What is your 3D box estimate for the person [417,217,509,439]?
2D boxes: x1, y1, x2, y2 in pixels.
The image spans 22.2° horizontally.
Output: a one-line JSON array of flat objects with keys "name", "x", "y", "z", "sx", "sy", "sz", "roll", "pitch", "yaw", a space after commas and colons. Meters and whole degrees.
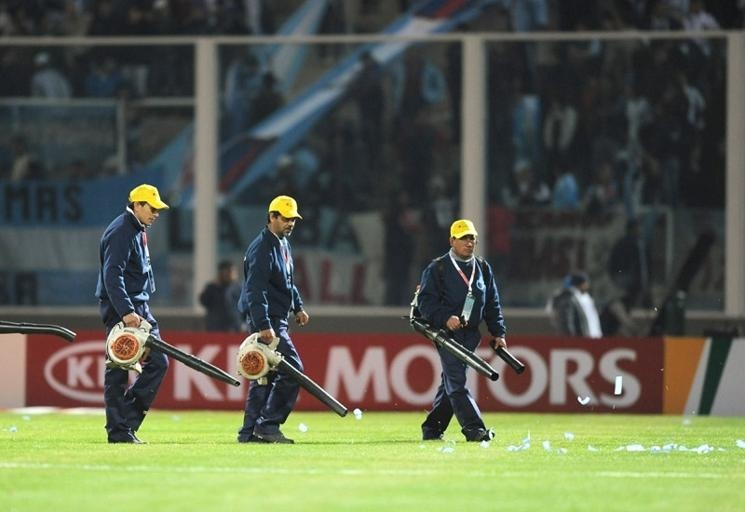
[{"name": "person", "x": 1.214, "y": 1.137, "z": 27.003, "sx": 1.171, "sy": 3.183, "sz": 1.114, "roll": 6, "pitch": 15, "yaw": 24}]

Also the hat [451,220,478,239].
[{"name": "hat", "x": 1.248, "y": -0.368, "z": 27.022, "sx": 0.283, "sy": 0.198, "sz": 0.383, "roll": 1, "pitch": -5, "yaw": -13}]

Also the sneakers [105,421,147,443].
[{"name": "sneakers", "x": -3.466, "y": 2.557, "z": 26.582, "sx": 0.597, "sy": 0.240, "sz": 0.199, "roll": 2, "pitch": -2, "yaw": -9}]

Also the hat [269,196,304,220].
[{"name": "hat", "x": -1.273, "y": -0.667, "z": 26.583, "sx": 0.522, "sy": 0.266, "sz": 0.360, "roll": 2, "pitch": 0, "yaw": 25}]

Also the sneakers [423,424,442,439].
[{"name": "sneakers", "x": 0.847, "y": 2.560, "z": 27.163, "sx": 0.235, "sy": 0.170, "sz": 0.202, "roll": 1, "pitch": -3, "yaw": 2}]

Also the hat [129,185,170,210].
[{"name": "hat", "x": -3.172, "y": -0.831, "z": 26.650, "sx": 0.663, "sy": 0.372, "sz": 0.414, "roll": 3, "pitch": 5, "yaw": -4}]

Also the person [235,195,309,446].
[{"name": "person", "x": -1.417, "y": 0.983, "z": 26.561, "sx": 0.944, "sy": 3.499, "sz": 1.087, "roll": -1, "pitch": 14, "yaw": -2}]

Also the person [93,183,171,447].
[{"name": "person", "x": -3.374, "y": 0.932, "z": 26.562, "sx": 0.968, "sy": 3.714, "sz": 1.051, "roll": -2, "pitch": 14, "yaw": -7}]
